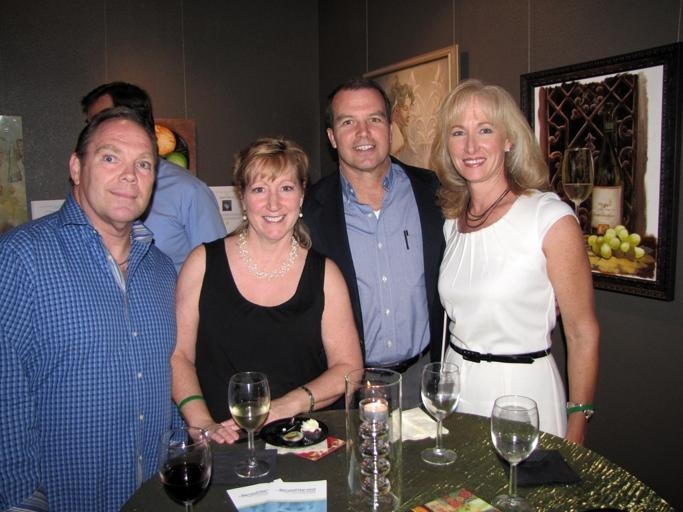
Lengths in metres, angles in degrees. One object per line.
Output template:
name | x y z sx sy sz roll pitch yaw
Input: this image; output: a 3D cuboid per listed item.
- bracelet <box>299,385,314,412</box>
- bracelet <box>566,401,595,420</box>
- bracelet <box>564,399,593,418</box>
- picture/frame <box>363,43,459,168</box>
bracelet | -0.156 0.670 2.648 0.042 0.111 0.078 -13 13 -38
bracelet | 1.145 0.731 2.709 0.098 0.065 0.089 -13 -15 33
bracelet | 1.141 0.727 2.708 0.086 0.058 0.079 18 -1 6
picture/frame | 0.534 -1.084 4.125 0.044 0.958 1.230 -5 9 -26
